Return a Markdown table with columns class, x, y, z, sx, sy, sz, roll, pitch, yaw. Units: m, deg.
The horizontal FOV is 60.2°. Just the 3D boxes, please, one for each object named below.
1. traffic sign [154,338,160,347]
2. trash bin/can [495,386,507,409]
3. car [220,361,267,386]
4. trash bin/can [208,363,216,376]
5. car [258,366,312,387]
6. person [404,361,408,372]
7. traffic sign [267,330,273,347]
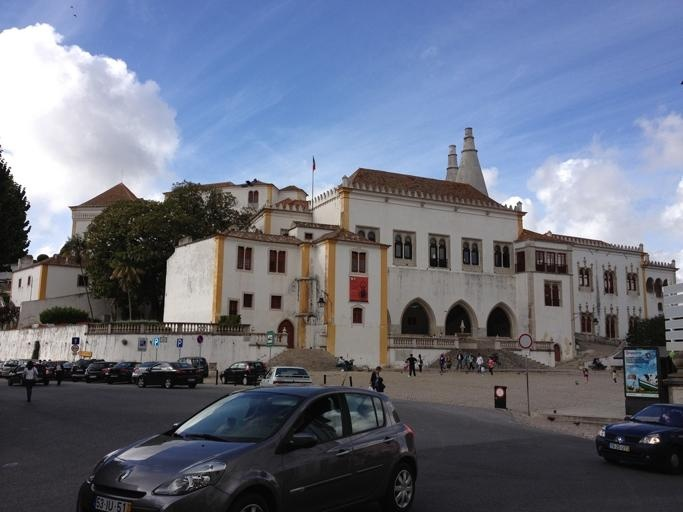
| class | x | y | z | sx | sy | sz | roll | pitch | yaw |
| --- | --- | --- | --- | --- | --- | --- | --- | --- | --- |
| traffic sign | -13.516 | 6.352 | 43.044 | 0.146 | 0.925 | 0.842 | -3 | 2 | -34 |
| trash bin/can | 6.933 | 6.218 | 25.710 | 0.607 | 1.273 | 0.697 | -2 | -18 | 12 |
| car | -6.010 | 7.283 | 36.984 | 1.625 | 1.259 | 2.843 | 7 | -6 | -42 |
| trash bin/can | -9.678 | 8.549 | 44.365 | 0.805 | 1.016 | 0.395 | 10 | -15 | -37 |
| car | -2.837 | 6.178 | 30.456 | 2.139 | 0.949 | 2.762 | 5 | -14 | -18 |
| person | 5.458 | 9.256 | 48.863 | 0.252 | 0.974 | 0.503 | -1 | -8 | -15 |
| traffic sign | -5.528 | 6.413 | 45.824 | 0.497 | 0.940 | 1.751 | 2 | -13 | -7 |
